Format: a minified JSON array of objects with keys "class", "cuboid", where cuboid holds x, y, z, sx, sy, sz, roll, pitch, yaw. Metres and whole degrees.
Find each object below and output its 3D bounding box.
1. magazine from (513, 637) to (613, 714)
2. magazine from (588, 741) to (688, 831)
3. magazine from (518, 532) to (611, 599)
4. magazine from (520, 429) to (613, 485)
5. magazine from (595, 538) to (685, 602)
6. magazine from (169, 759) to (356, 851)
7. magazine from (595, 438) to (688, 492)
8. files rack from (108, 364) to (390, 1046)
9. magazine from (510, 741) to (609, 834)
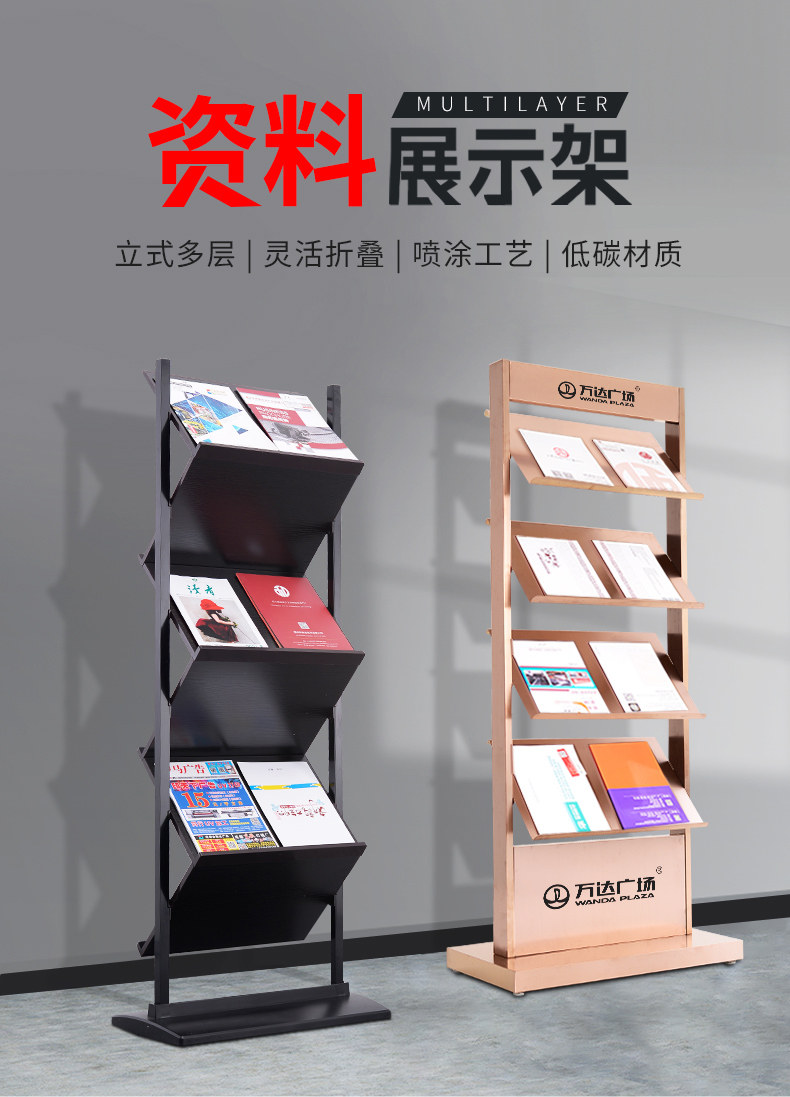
[{"class":"magazine","cuboid":[0.483,0.378,3.517,0.324,0.278,0.070,-15,-23,-42]},{"class":"magazine","cuboid":[0.719,0.727,3.589,0.290,0.252,0.061,0,-37,-37]},{"class":"magazine","cuboid":[0.506,0.052,3.510,0.270,0.207,0.026,1,-40,-39]},{"class":"magazine","cuboid":[0.520,-0.283,3.570,0.260,0.164,0.010,3,-41,-36]},{"class":"magazine","cuboid":[0.764,0.069,3.668,0.255,0.164,0.024,3,-41,-47]},{"class":"magazine","cuboid":[-0.343,0.638,2.950,0.437,0.199,0.217,4,-7,-34]},{"class":"magazine","cuboid":[0.779,-0.268,3.728,0.269,0.171,0.021,2,-46,-42]},{"class":"files rack","cuboid":[-0.349,0.367,3.011,0.613,1.653,0.365,5,-7,-34]},{"class":"magazine","cuboid":[0.475,0.698,3.413,0.303,0.247,0.179,4,-7,-34]}]
